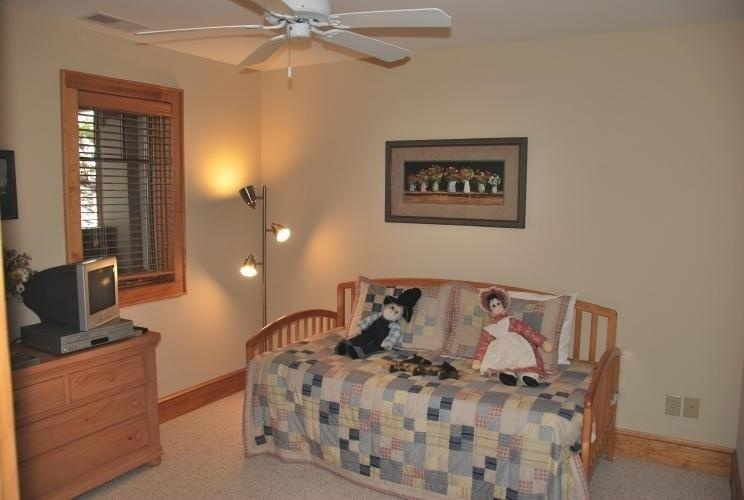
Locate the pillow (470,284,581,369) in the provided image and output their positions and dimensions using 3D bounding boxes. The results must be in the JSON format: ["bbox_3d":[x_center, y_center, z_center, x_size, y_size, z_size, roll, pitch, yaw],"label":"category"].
[{"bbox_3d":[1.350,0.570,4.072,0.561,0.537,0.149,4,-27,16],"label":"pillow"}]

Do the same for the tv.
[{"bbox_3d":[-2.179,0.273,3.996,0.579,0.475,0.522,6,8,7],"label":"tv"}]

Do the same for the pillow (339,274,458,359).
[{"bbox_3d":[0.464,0.608,4.650,0.177,0.649,0.900,16,-12,-23],"label":"pillow"}]
